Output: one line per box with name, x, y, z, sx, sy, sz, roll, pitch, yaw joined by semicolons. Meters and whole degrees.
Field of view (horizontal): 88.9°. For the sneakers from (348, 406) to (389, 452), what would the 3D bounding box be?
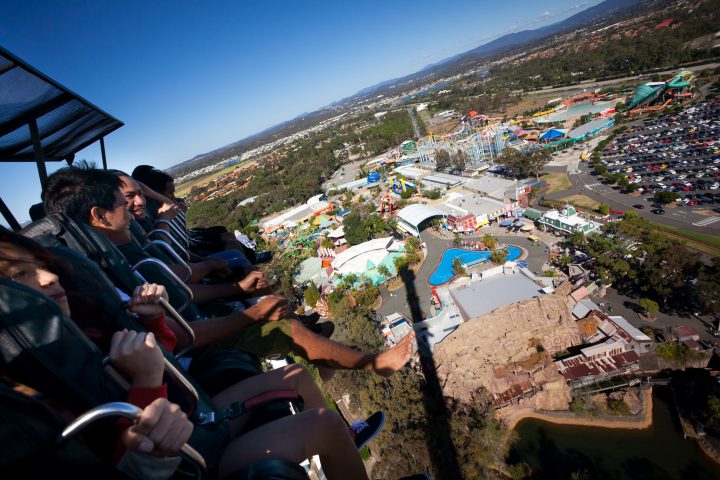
sneakers;0.024;1.144;2.214;0.404;0.165;0.146;-43;27;42
